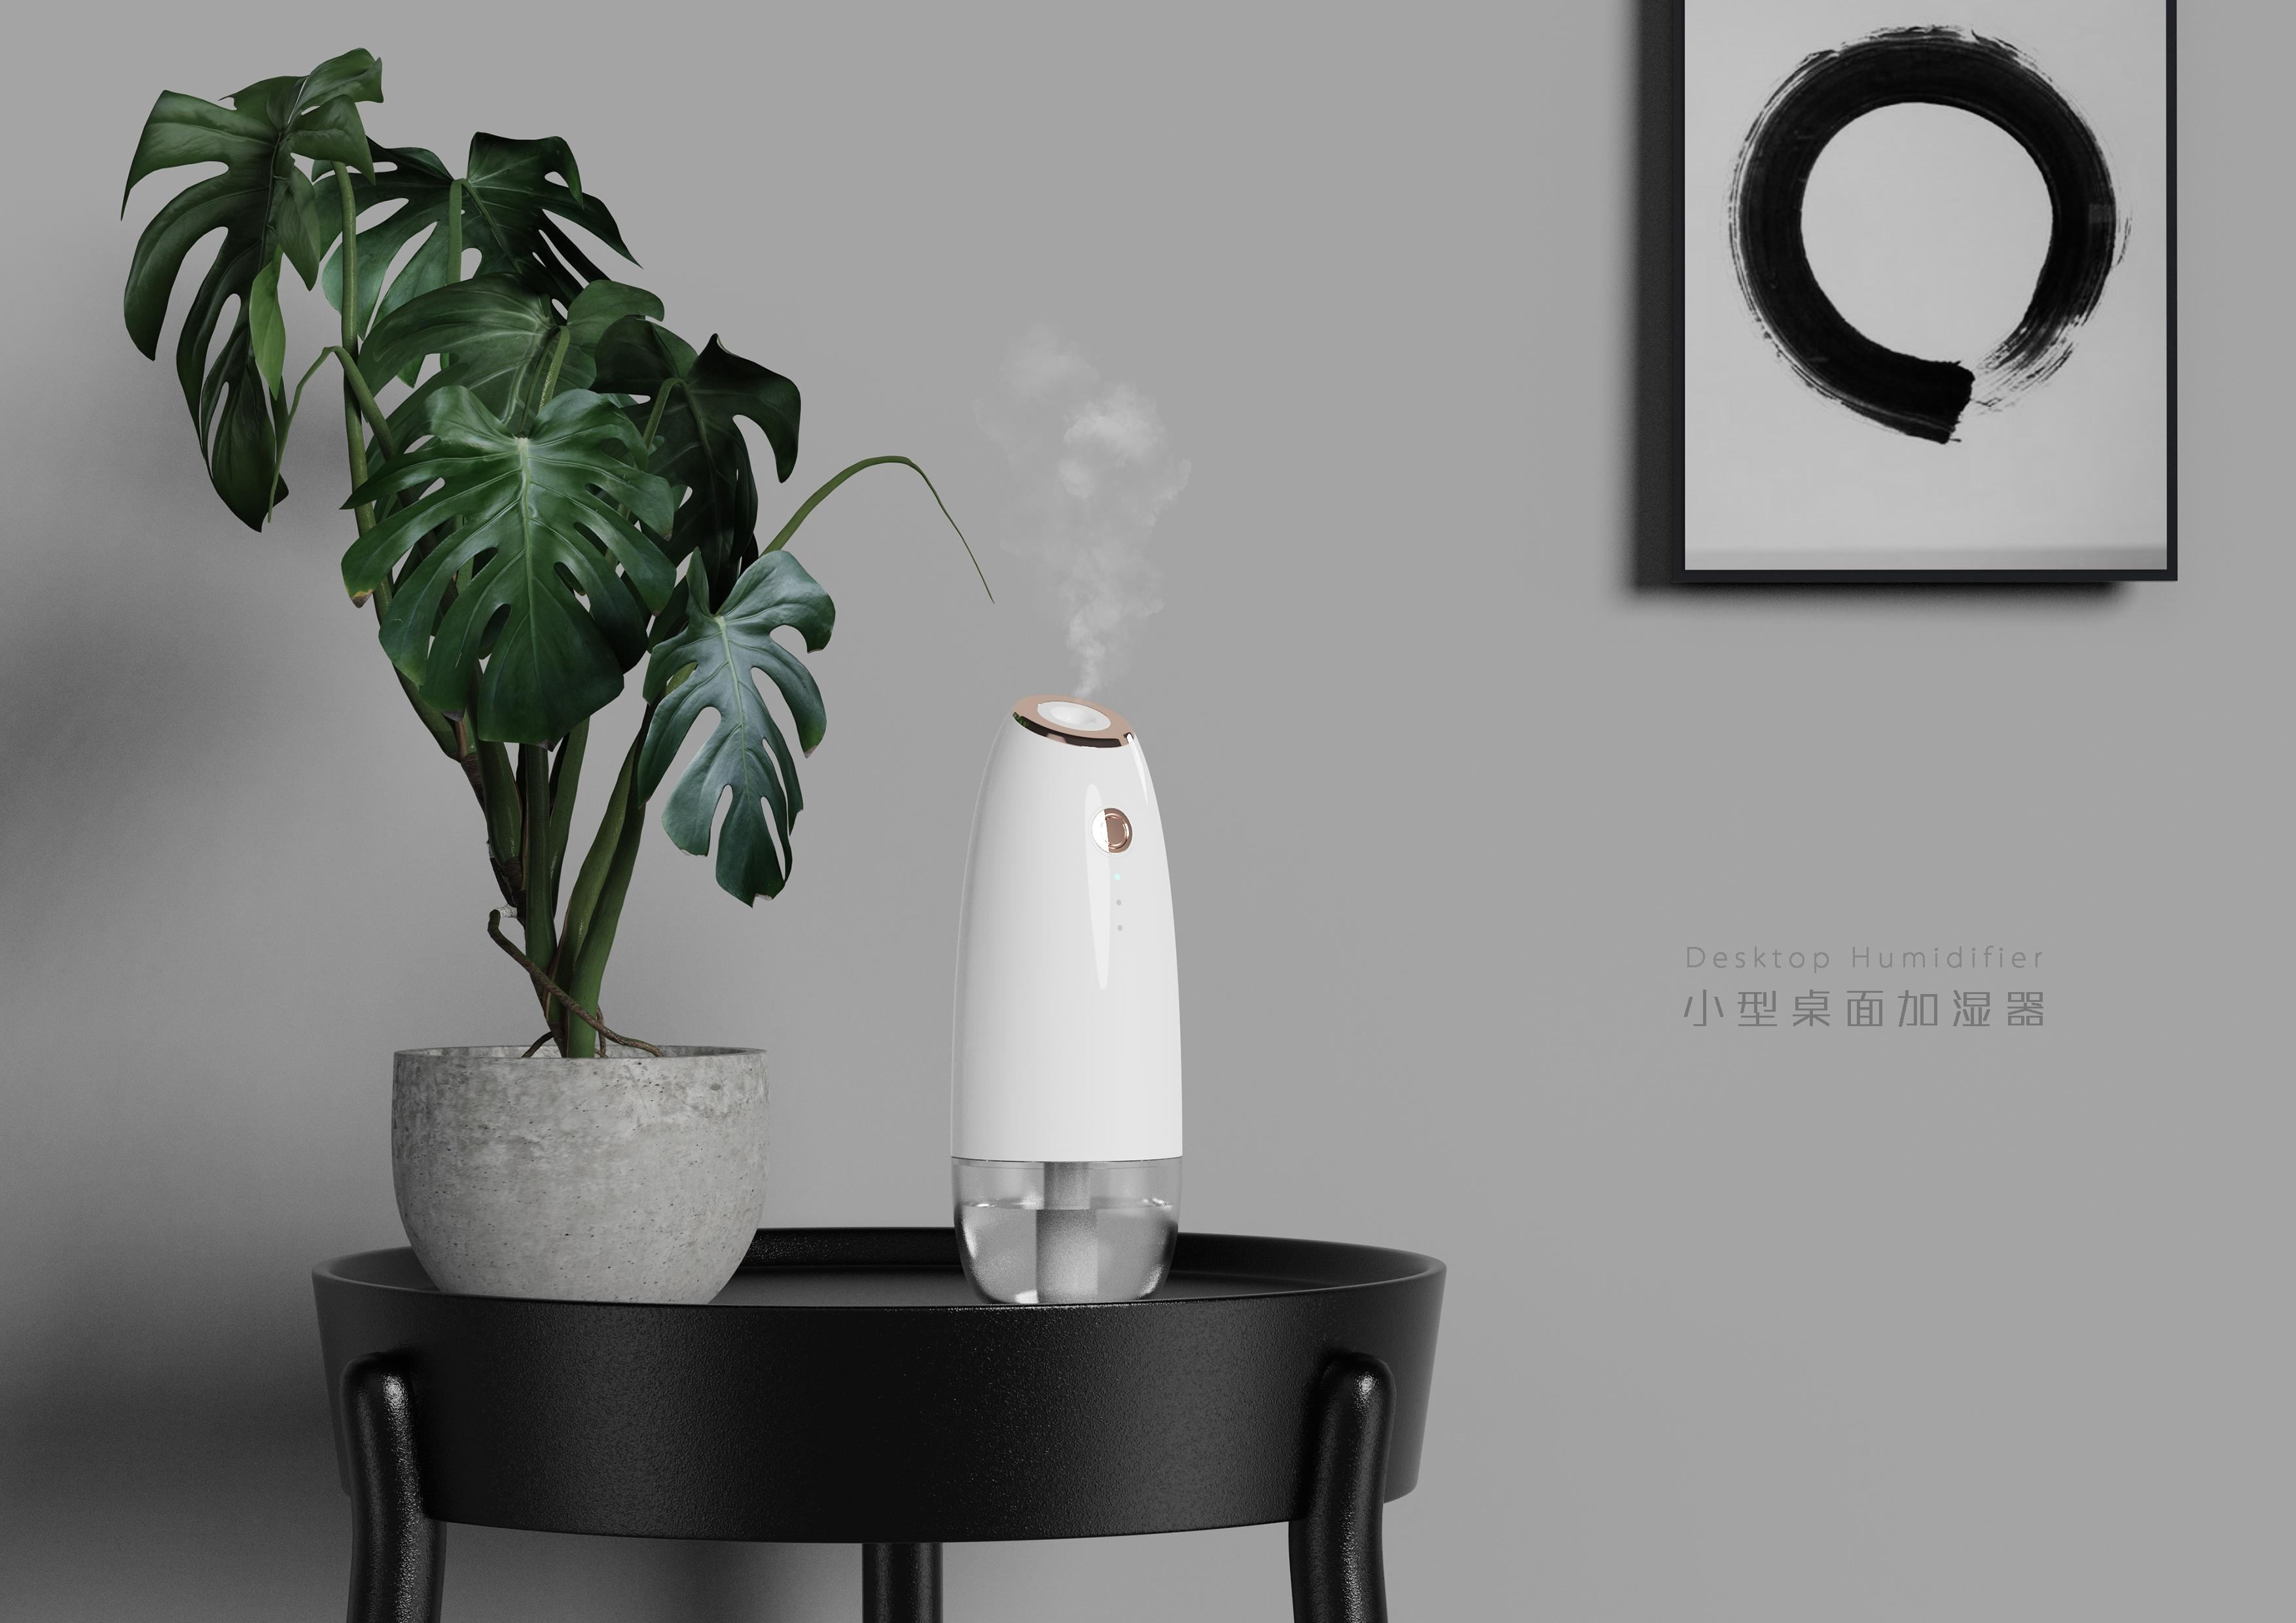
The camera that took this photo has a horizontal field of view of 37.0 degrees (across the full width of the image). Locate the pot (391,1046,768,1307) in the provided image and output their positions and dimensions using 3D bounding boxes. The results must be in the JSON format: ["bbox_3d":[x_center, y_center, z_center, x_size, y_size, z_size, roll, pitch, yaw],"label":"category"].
[{"bbox_3d":[-0.347,0.254,2.086,0.149,0.147,0.165,0,-9,-5],"label":"pot"}]
